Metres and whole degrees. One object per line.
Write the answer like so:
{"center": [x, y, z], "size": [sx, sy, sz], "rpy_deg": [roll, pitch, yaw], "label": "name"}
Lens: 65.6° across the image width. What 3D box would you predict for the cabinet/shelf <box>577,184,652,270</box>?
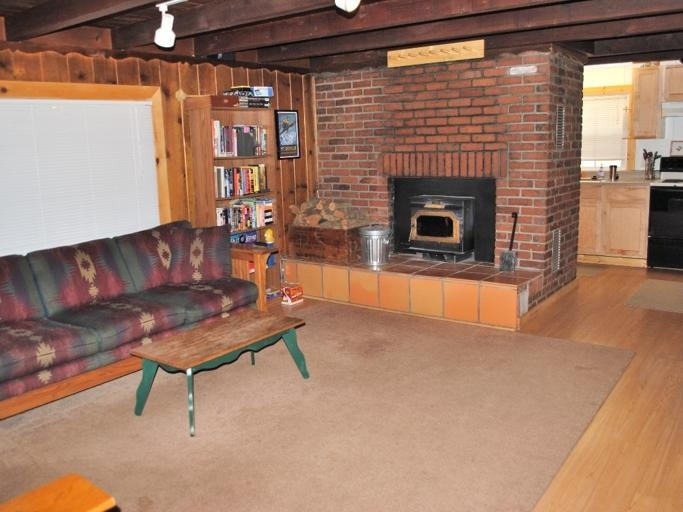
{"center": [3.510, -0.407, 6.771], "size": [1.112, 1.266, 0.778], "rpy_deg": [4, 8, 31], "label": "cabinet/shelf"}
